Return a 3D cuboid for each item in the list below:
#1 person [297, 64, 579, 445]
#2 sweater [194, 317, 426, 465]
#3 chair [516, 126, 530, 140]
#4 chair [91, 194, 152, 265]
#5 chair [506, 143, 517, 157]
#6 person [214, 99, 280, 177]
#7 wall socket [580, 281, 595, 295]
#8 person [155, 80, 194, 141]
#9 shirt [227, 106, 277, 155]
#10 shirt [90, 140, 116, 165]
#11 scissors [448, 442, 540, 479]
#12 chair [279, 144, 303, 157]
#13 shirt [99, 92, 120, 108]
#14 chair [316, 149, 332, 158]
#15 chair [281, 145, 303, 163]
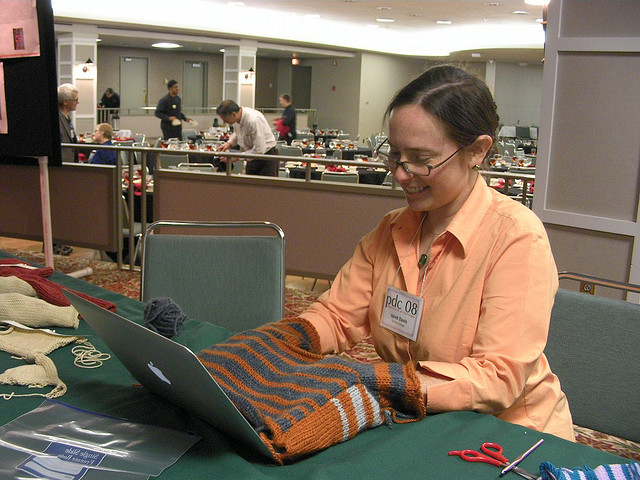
[{"bbox_3d":[0.349,0.001,1.853,1.001,1.408,0.871,-3,6,-33],"label":"person"},{"bbox_3d":[-0.031,0.330,1.137,0.398,0.149,0.368,-8,15,-30],"label":"sweater"},{"bbox_3d":[7.360,-3.883,18.040,0.603,0.596,0.317,1,-7,13],"label":"chair"},{"bbox_3d":[-1.747,-0.100,4.316,0.385,0.669,0.457,17,27,20],"label":"chair"},{"bbox_3d":[5.046,-2.409,13.137,0.248,0.262,0.927,5,14,20],"label":"chair"},{"bbox_3d":[-1.040,-1.466,7.157,0.870,1.040,1.702,-2,14,-10],"label":"person"},{"bbox_3d":[0.879,0.159,1.634,0.026,0.048,0.048,-3,3,-29],"label":"wall socket"},{"bbox_3d":[-3.426,-2.949,11.366,0.607,1.273,0.558,-9,16,-31],"label":"person"},{"bbox_3d":[-1.099,-1.635,7.427,0.643,0.695,0.858,-28,33,-34],"label":"shirt"},{"bbox_3d":[-2.616,-0.999,5.960,0.280,0.184,0.576,-6,15,-24],"label":"shirt"},{"bbox_3d":[0.336,0.410,0.932,0.055,0.008,0.139,-3,3,-19],"label":"scissors"},{"bbox_3d":[-0.484,-1.563,9.032,0.395,0.265,0.408,4,5,14],"label":"chair"},{"bbox_3d":[-6.227,-4.174,14.819,0.548,0.421,0.594,13,19,43],"label":"shirt"},{"bbox_3d":[0.071,-1.697,9.567,0.288,0.293,0.233,-5,14,-1],"label":"chair"},{"bbox_3d":[-0.522,-1.562,8.954,0.307,0.350,0.269,-1,16,-6],"label":"chair"}]
